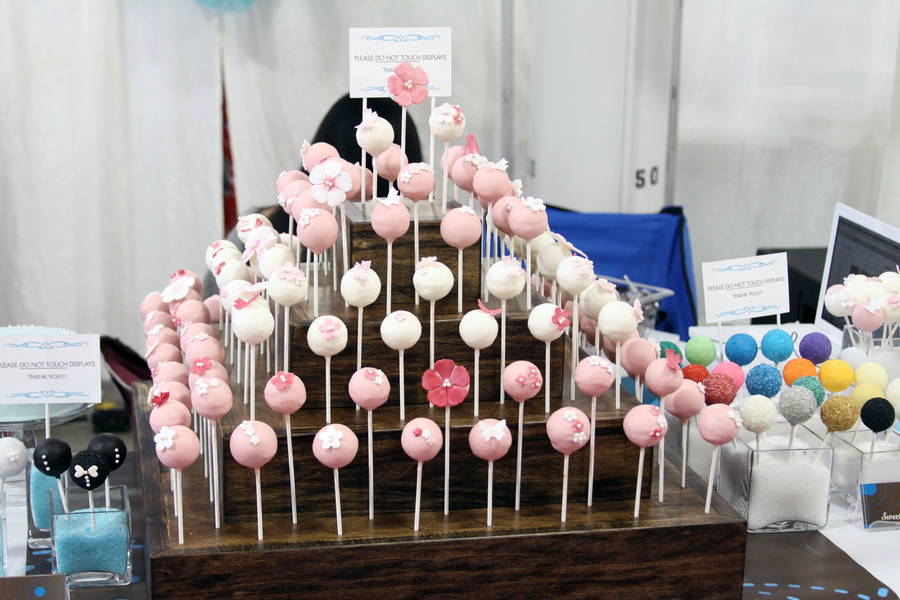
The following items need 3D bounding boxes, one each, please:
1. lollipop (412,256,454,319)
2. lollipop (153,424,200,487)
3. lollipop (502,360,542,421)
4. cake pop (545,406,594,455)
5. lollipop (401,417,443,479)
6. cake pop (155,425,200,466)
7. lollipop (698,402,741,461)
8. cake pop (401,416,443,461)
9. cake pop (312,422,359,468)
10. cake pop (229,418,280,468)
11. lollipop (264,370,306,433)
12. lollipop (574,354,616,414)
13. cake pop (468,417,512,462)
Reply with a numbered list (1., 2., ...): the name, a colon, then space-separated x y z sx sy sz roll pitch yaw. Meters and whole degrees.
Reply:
1. lollipop: -0.041 -0.039 2.716 0.091 0.135 0.074 1 7 25
2. lollipop: -0.663 0.376 2.632 0.119 0.120 0.110 -20 22 8
3. lollipop: 0.182 0.218 2.684 0.100 0.125 0.064 -1 6 12
4. cake pop: 0.301 0.332 2.676 0.101 0.127 0.081 0 6 21
5. lollipop: -0.067 0.341 2.618 0.117 0.116 0.107 -1 -6 3
6. cake pop: -0.668 0.367 2.627 0.100 0.113 0.058 -3 6 -15
7. lollipop: 0.663 0.339 2.713 0.121 0.121 0.110 -2 8 8
8. cake pop: -0.066 0.354 2.658 0.101 0.122 0.091 -2 6 -2
9. cake pop: -0.278 0.367 2.636 0.110 0.125 0.084 -2 6 -6
10. cake pop: -0.475 0.347 2.584 0.126 0.126 0.114 1 6 3
11. lollipop: -0.406 0.244 2.669 0.099 0.139 0.145 -3 6 -8
12. lollipop: 0.360 0.207 2.699 0.086 0.132 0.108 -3 6 -15
13. cake pop: 0.105 0.355 2.672 0.109 0.120 0.094 -1 6 4
